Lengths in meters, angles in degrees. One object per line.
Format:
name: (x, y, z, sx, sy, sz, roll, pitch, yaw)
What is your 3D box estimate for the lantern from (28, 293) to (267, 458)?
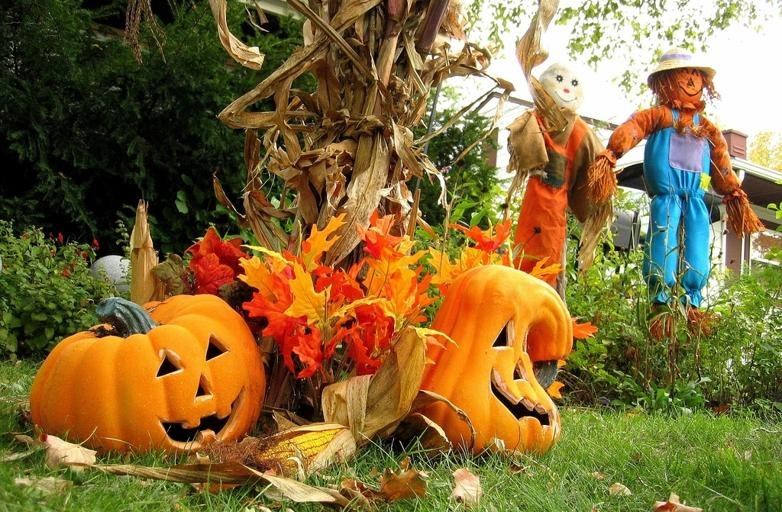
lantern: (-0.966, 0.405, 2.702, 0.658, 0.515, 0.638, -11, -2, -18)

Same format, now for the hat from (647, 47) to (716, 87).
hat: (2.022, -1.398, 4.807, 0.379, 0.175, 0.384, 2, 9, 16)

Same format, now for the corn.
corn: (-0.279, 0.658, 2.360, 0.291, 0.147, 0.125, -8, -40, -15)

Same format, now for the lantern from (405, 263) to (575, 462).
lantern: (0.413, 0.409, 2.660, 0.554, 0.701, 0.188, 14, -10, -20)

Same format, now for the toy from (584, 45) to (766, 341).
toy: (1.991, -0.439, 4.695, 1.379, 1.948, 0.499, 3, -5, -16)

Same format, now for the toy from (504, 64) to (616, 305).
toy: (1.048, -0.464, 4.306, 0.668, 1.468, 0.404, 11, 17, 22)
